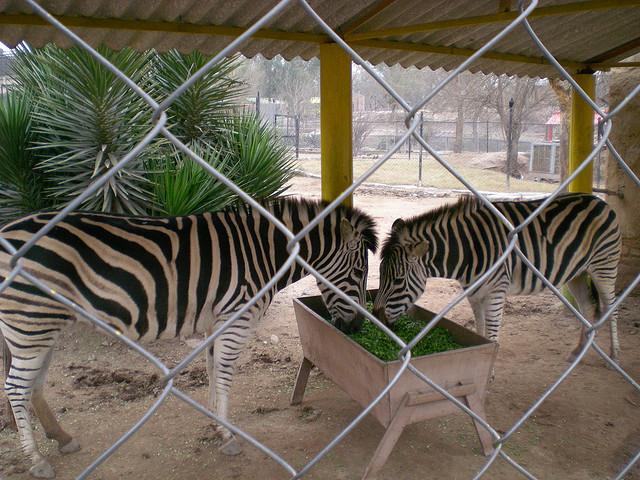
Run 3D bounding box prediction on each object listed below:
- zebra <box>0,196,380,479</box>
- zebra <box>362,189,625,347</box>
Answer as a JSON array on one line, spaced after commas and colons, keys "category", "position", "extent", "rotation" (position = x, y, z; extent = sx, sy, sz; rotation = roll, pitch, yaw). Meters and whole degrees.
[{"category": "zebra", "position": [-0.989, 0.674, 4.529], "extent": [2.534, 1.872, 0.831], "rotation": [-6, 13, -29]}, {"category": "zebra", "position": [1.656, 0.319, 5.463], "extent": [2.381, 1.529, 0.708], "rotation": [-7, 22, -8]}]
